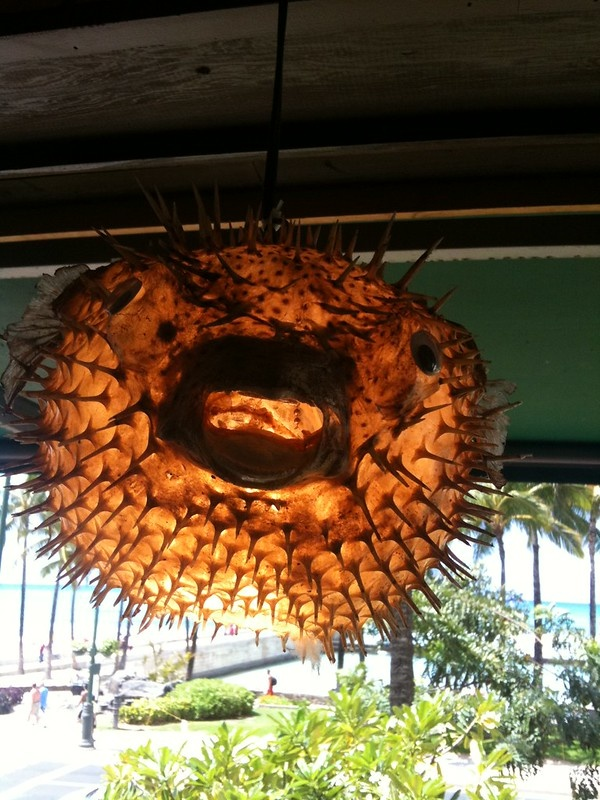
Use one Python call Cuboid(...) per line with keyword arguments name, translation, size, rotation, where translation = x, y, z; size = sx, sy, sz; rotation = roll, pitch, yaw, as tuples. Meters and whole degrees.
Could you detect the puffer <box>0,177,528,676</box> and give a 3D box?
Cuboid(name="puffer", translation=(-0.012, 0.039, 1.527), size=(0.990, 0.665, 0.748), rotation=(4, -11, -2))
